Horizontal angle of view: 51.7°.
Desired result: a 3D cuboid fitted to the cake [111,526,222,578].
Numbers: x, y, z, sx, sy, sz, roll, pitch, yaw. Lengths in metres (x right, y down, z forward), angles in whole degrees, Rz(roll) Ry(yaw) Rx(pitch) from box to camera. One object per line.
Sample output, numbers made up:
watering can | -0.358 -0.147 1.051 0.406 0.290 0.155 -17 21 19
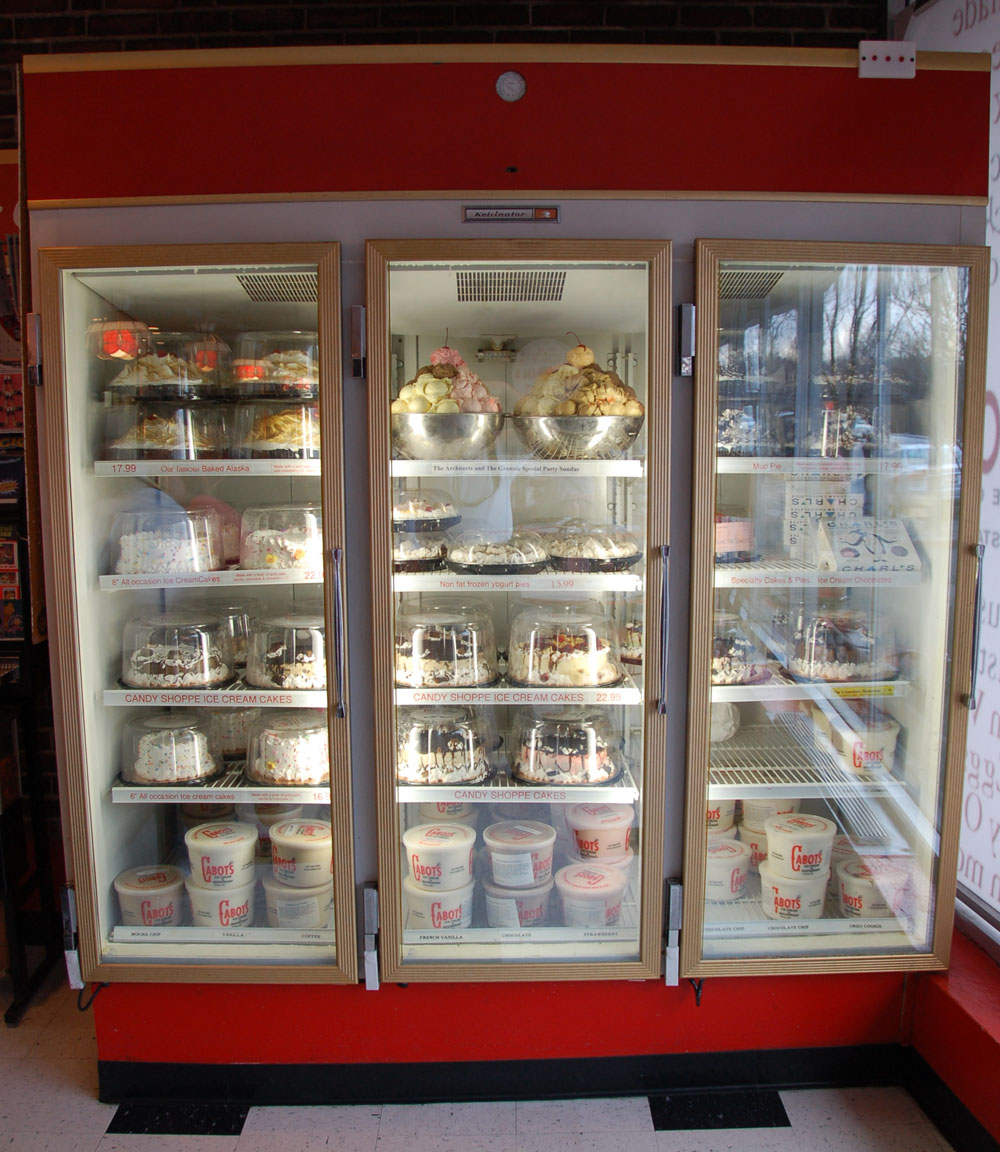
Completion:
cake | -0.789 -0.061 2.453 0.155 0.082 0.154 0 0 -44

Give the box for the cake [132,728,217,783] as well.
cake | -0.787 0.430 2.496 0.149 0.083 0.148 -1 -1 41

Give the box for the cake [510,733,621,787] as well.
cake | 0.153 0.435 2.434 0.166 0.067 0.156 0 2 -2

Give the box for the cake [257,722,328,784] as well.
cake | -0.491 0.426 2.448 0.160 0.091 0.153 0 4 -7

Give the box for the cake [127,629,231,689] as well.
cake | -0.792 0.194 2.475 0.180 0.084 0.170 0 2 -2

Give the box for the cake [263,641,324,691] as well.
cake | -0.487 0.210 2.446 0.124 0.083 0.118 -1 1 15
